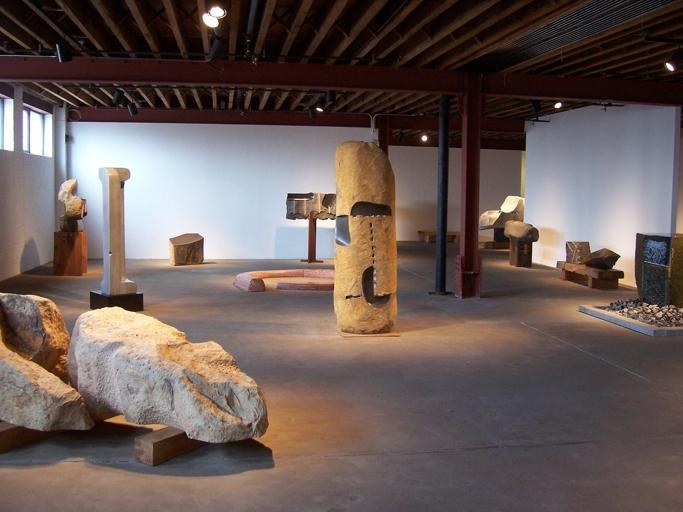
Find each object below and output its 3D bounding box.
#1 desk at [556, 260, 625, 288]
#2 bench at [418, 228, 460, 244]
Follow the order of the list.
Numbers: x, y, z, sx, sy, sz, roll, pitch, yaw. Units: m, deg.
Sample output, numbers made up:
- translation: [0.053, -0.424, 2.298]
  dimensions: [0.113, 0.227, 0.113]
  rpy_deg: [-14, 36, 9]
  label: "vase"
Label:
- translation: [4.906, 0.363, 10.460]
  dimensions: [0.575, 0.393, 1.187]
  rpy_deg: [0, 6, -12]
  label: "desk"
- translation: [3.595, -0.759, 19.732]
  dimensions: [1.512, 0.471, 0.869]
  rpy_deg: [-1, 6, -19]
  label: "bench"
